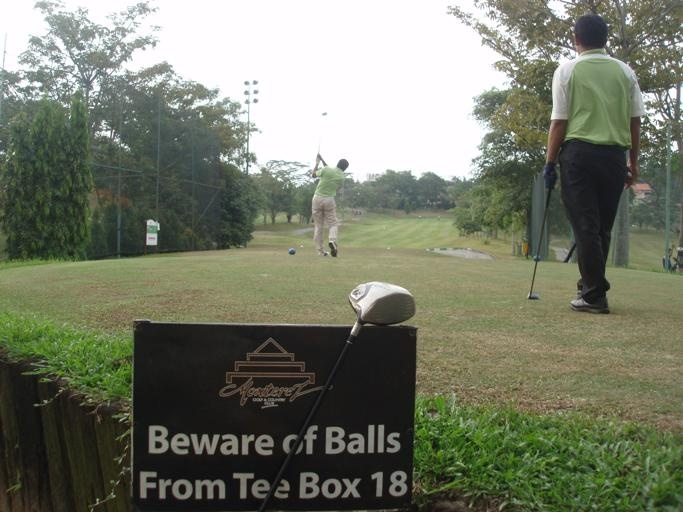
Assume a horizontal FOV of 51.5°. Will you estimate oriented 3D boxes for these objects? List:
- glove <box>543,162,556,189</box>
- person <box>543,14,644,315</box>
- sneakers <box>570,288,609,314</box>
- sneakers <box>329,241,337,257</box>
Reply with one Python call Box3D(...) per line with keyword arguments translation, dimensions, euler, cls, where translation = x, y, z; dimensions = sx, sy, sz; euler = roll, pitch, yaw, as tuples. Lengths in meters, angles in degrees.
Box3D(translation=(1.559, -0.610, 5.301), dimensions=(0.064, 0.203, 0.143), euler=(9, -6, 16), cls="glove")
Box3D(translation=(1.857, -0.713, 5.259), dimensions=(0.588, 2.105, 0.650), euler=(1, 0, 43), cls="person")
Box3D(translation=(1.755, 0.331, 5.060), dimensions=(0.117, 0.169, 0.317), euler=(0, 2, -35), cls="sneakers")
Box3D(translation=(-0.160, -0.118, 12.232), dimensions=(0.098, 0.290, 0.128), euler=(3, 31, 27), cls="sneakers")
